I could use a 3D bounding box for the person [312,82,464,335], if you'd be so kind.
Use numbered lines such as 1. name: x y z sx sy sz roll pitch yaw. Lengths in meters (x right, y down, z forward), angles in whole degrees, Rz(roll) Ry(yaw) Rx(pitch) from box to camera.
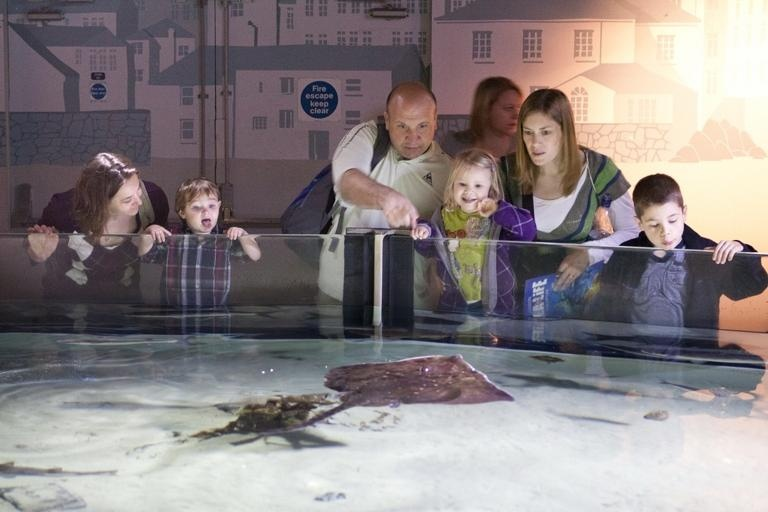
1. person: 0.017 -0.183 4.876 1.016 2.180 0.889 7 16 -9

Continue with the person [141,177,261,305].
1. person: -1.180 -0.110 4.240 0.679 0.825 0.742 1 2 -14

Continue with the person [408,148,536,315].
1. person: 0.572 -0.173 4.099 0.733 1.025 0.448 2 3 16
